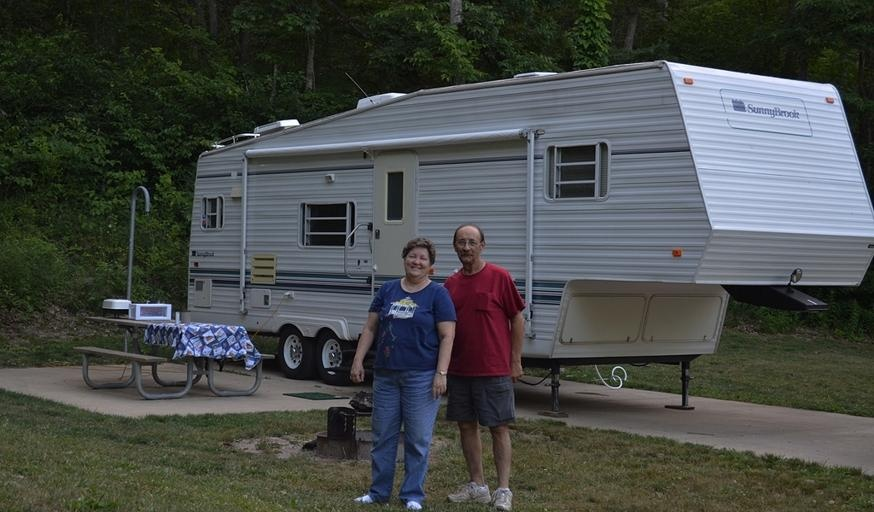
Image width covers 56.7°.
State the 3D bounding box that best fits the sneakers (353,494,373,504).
[{"bbox_3d":[-0.828,2.731,9.134,0.086,0.095,0.273,10,-8,-43],"label":"sneakers"}]

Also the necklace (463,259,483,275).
[{"bbox_3d":[0.412,0.122,9.308,0.246,0.181,0.165,10,-3,-12],"label":"necklace"}]

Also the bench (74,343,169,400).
[{"bbox_3d":[-5.114,2.034,13.817,1.175,0.547,2.518,12,-11,-42],"label":"bench"}]

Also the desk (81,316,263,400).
[{"bbox_3d":[-4.373,1.764,13.847,2.135,0.895,2.989,11,-14,-34],"label":"desk"}]

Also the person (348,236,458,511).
[{"bbox_3d":[-0.385,1.291,9.101,1.114,2.989,0.649,3,6,7],"label":"person"}]
